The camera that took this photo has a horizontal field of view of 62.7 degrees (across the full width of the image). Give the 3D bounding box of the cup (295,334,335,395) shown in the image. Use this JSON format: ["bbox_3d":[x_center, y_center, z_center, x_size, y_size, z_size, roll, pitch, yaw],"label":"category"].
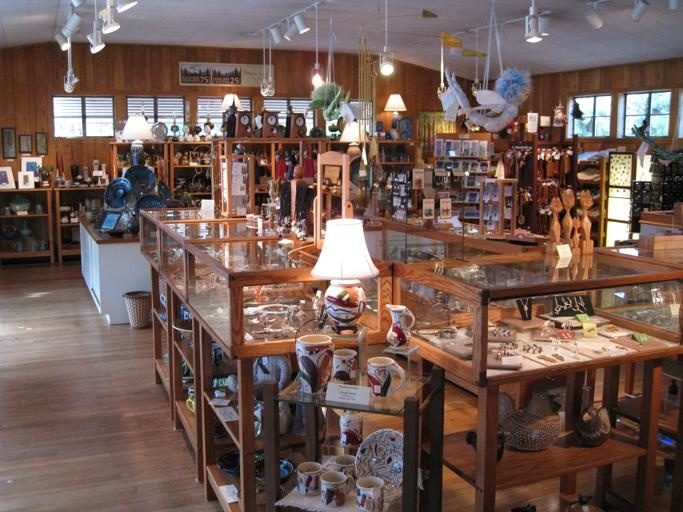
[{"bbox_3d":[-0.129,0.530,2.772,0.226,0.304,0.231,2,-3,0],"label":"cup"}]

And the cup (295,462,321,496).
[{"bbox_3d":[-0.166,1.132,2.842,0.118,0.123,0.136,1,2,1],"label":"cup"}]

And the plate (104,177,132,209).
[{"bbox_3d":[-3.067,-0.873,7.780,0.367,0.407,0.104,4,4,-4],"label":"plate"}]

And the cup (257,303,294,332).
[{"bbox_3d":[-0.380,0.361,3.281,0.139,0.093,0.141,2,8,0],"label":"cup"}]

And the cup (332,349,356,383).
[{"bbox_3d":[0.017,0.549,2.840,0.104,0.145,0.138,0,4,-5],"label":"cup"}]

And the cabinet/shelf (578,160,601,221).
[{"bbox_3d":[4.553,-1.239,10.371,0.440,1.145,0.785,2,12,11],"label":"cabinet/shelf"}]

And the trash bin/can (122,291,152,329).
[{"bbox_3d":[-2.572,0.670,7.139,0.394,0.446,0.416,-2,3,-36],"label":"trash bin/can"}]

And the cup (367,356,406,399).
[{"bbox_3d":[0.211,0.587,2.706,0.186,0.151,0.125,1,6,-7],"label":"cup"}]

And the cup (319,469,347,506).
[{"bbox_3d":[-0.035,1.154,2.776,0.128,0.119,0.138,0,13,0],"label":"cup"}]

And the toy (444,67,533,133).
[{"bbox_3d":[0.960,-1.057,3.801,0.554,0.415,0.469,2,13,8],"label":"toy"}]

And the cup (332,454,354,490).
[{"bbox_3d":[0.003,1.114,2.870,0.081,0.123,0.133,-1,15,-9],"label":"cup"}]

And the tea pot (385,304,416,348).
[{"bbox_3d":[0.316,0.362,3.006,0.133,0.192,0.256,2,13,8],"label":"tea pot"}]
